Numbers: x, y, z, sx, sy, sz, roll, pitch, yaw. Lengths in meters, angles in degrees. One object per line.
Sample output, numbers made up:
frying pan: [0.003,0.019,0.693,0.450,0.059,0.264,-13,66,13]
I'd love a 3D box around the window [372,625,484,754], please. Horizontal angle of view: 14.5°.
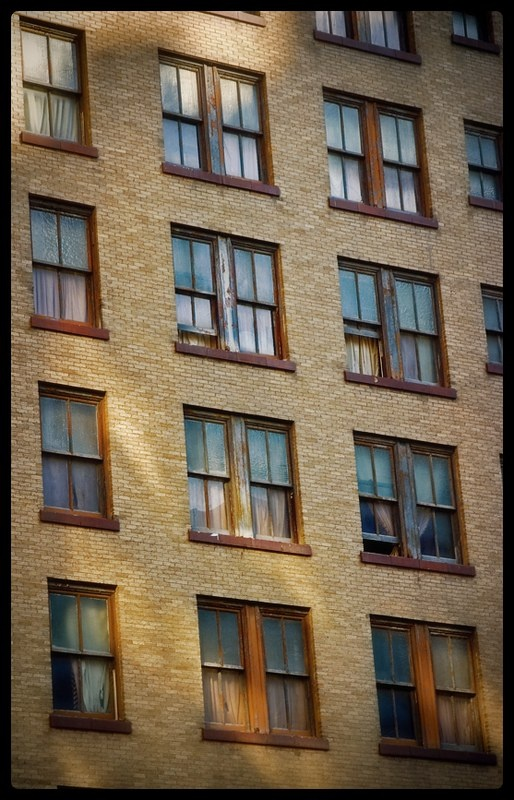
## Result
window: [2.616,4.871,33.217,1.519,1.962,0.124,16,-32,-30]

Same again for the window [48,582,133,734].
window: [-2.671,3.920,30.406,1.140,0.245,2.754,4,-58,4]

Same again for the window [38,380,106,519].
window: [-2.950,0.831,31.741,1.044,0.180,2.442,5,-57,3]

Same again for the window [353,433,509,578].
window: [2.707,1.853,34.215,2.260,2.682,0.268,14,-31,-25]

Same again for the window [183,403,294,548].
window: [-0.448,1.275,32.953,1.633,2.077,0.253,18,-36,-29]

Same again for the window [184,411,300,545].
window: [-0.386,1.324,32.987,1.534,1.936,0.234,18,-36,-30]

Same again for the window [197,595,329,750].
window: [-0.058,4.399,31.720,1.787,2.456,0.235,13,-33,-28]

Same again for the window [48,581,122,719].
window: [-2.678,3.862,30.434,1.096,2.420,0.263,7,-41,-16]

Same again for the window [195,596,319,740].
window: [-0.148,4.314,31.737,1.638,2.014,0.257,15,-34,-30]

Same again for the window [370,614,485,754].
window: [2.609,4.785,33.226,1.671,2.160,0.142,16,-32,-32]
